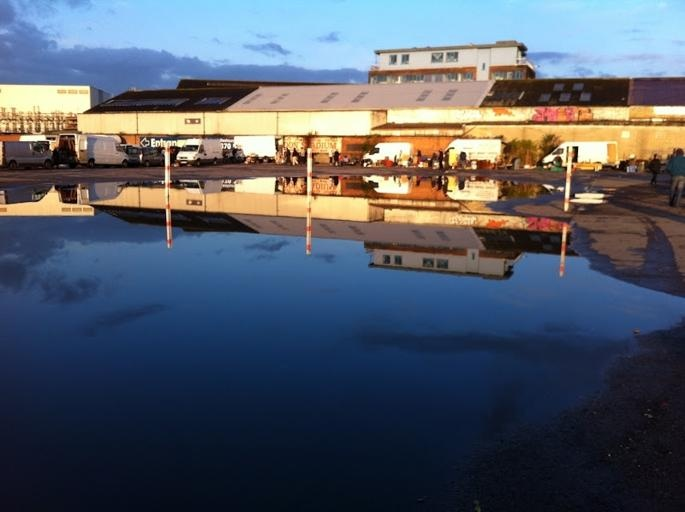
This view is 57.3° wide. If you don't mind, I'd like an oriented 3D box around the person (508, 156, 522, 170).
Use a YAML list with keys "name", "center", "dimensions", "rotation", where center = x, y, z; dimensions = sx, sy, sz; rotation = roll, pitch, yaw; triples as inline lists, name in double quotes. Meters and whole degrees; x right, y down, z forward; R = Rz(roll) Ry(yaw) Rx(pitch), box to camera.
- name: "person"
  center: [13.090, -7.082, 47.836]
  dimensions: [0.892, 0.824, 2.283]
  rotation: [5, 15, 16]

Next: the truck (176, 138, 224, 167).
- name: "truck"
  center: [-9.780, -7.170, 43.094]
  dimensions: [1.522, 1.558, 3.879]
  rotation: [1, 7, 12]

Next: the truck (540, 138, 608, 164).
- name: "truck"
  center: [17.591, -7.654, 46.899]
  dimensions: [4.247, 1.685, 2.743]
  rotation: [6, 16, 20]

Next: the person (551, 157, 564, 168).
- name: "person"
  center: [15.806, -6.899, 46.189]
  dimensions: [0.228, 0.849, 0.929]
  rotation: [26, -7, -25]

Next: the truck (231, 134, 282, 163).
- name: "truck"
  center: [-7.305, -9.080, 53.275]
  dimensions: [3.290, 2.020, 1.165]
  rotation: [-4, 16, -18]

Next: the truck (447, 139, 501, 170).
- name: "truck"
  center: [9.988, -7.689, 47.128]
  dimensions: [4.163, 2.735, 2.210]
  rotation: [1, 4, 15]

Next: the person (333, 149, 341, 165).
- name: "person"
  center: [-0.500, -8.093, 51.876]
  dimensions: [0.619, 1.085, 1.016]
  rotation: [0, 15, -2]

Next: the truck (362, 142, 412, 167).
- name: "truck"
  center: [3.556, -7.909, 48.890]
  dimensions: [3.085, 1.503, 1.783]
  rotation: [3, 11, 8]

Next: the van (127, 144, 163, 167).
- name: "van"
  center: [-12.834, -6.393, 40.549]
  dimensions: [1.239, 1.525, 4.286]
  rotation: [1, 15, 1]

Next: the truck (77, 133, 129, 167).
- name: "truck"
  center: [-13.920, -6.039, 36.156]
  dimensions: [0.859, 2.078, 3.456]
  rotation: [4, 15, 12]
